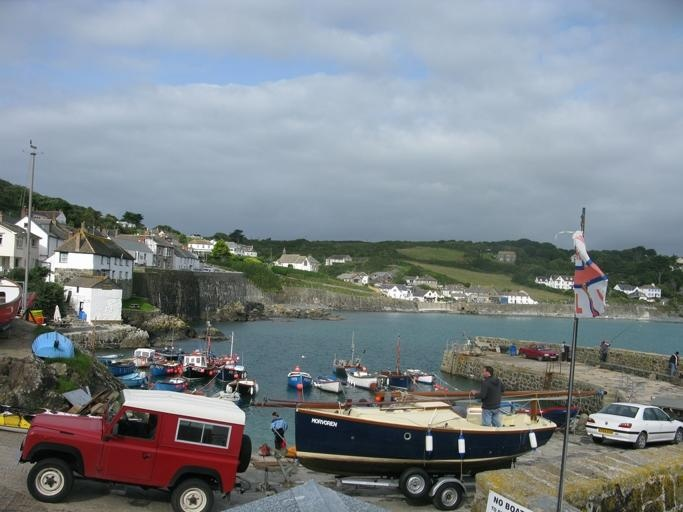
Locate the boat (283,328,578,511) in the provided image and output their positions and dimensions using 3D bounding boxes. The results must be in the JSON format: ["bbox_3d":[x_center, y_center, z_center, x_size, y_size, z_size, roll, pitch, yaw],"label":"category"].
[{"bbox_3d":[3.769,7.678,33.971,10.026,3.699,4.654,1,-2,-9],"label":"boat"}]

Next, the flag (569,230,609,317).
[{"bbox_3d":[8.602,0.642,28.679,1.186,2.969,0.922,-1,2,1],"label":"flag"}]
